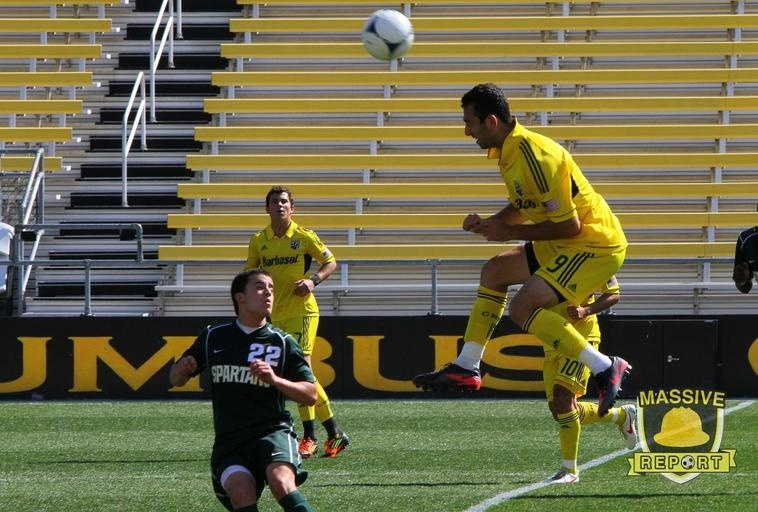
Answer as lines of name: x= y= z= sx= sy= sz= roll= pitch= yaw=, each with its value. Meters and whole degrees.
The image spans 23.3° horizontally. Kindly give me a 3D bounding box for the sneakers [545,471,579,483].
sneakers: x=2.385 y=2.834 z=23.385 sx=0.367 sy=0.118 sz=0.171 roll=1 pitch=-4 yaw=-2
